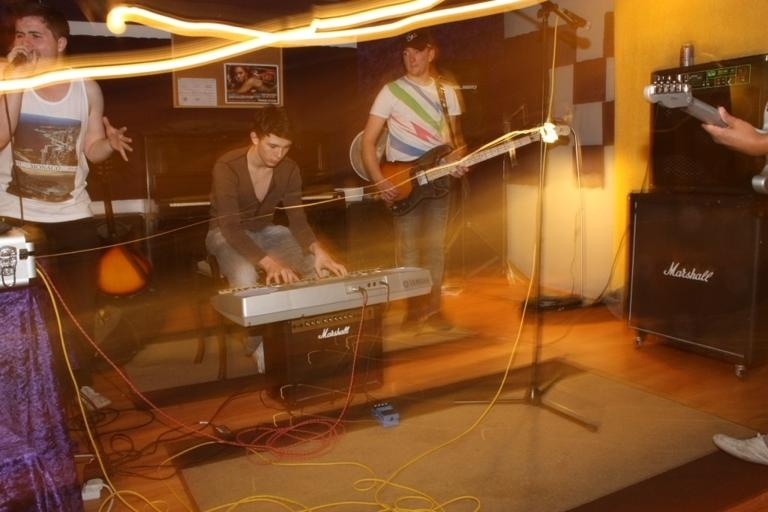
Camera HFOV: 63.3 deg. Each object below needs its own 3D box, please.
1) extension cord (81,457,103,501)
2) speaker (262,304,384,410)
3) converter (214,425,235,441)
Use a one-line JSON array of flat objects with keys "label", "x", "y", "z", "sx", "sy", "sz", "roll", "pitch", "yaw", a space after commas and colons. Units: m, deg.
[{"label": "extension cord", "x": -1.476, "y": 1.095, "z": 3.145, "sx": 0.100, "sy": 0.086, "sz": 0.352, "roll": -11, "pitch": 19, "yaw": -27}, {"label": "speaker", "x": -0.217, "y": 0.625, "z": 3.698, "sx": 0.621, "sy": 0.342, "sz": 0.566, "roll": -12, "pitch": 56, "yaw": 12}, {"label": "converter", "x": -0.882, "y": 0.979, "z": 3.451, "sx": 0.074, "sy": 0.017, "sz": 0.073, "roll": -1, "pitch": 20, "yaw": -46}]
